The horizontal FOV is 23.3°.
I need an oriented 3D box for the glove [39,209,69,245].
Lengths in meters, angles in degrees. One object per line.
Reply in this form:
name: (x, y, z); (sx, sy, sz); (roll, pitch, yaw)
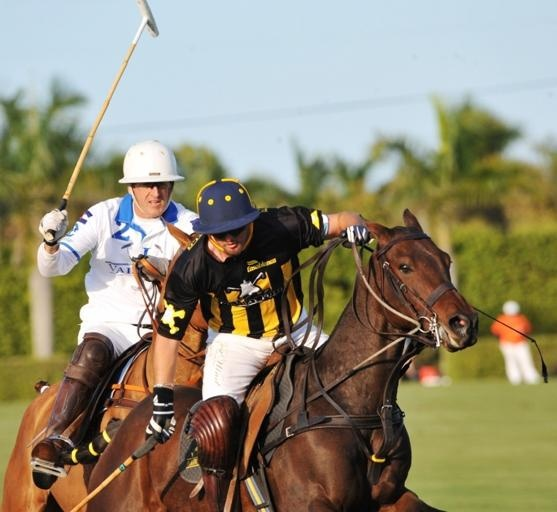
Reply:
glove: (-1.833, -0.243, 11.069); (0.203, 0.304, 0.104); (-6, -22, 24)

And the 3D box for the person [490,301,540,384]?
person: (3.694, 1.306, 21.271); (0.594, 1.548, 0.475); (-3, 30, 8)

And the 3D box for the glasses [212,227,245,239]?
glasses: (-0.370, -0.170, 10.038); (0.248, 0.099, 0.081); (-1, -10, -1)

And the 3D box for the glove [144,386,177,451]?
glove: (-0.894, 1.208, 10.371); (0.268, 0.402, 0.146); (-1, -9, -9)

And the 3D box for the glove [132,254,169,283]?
glove: (-1.051, 0.106, 11.045); (0.264, 0.211, 0.127); (14, 31, 12)
